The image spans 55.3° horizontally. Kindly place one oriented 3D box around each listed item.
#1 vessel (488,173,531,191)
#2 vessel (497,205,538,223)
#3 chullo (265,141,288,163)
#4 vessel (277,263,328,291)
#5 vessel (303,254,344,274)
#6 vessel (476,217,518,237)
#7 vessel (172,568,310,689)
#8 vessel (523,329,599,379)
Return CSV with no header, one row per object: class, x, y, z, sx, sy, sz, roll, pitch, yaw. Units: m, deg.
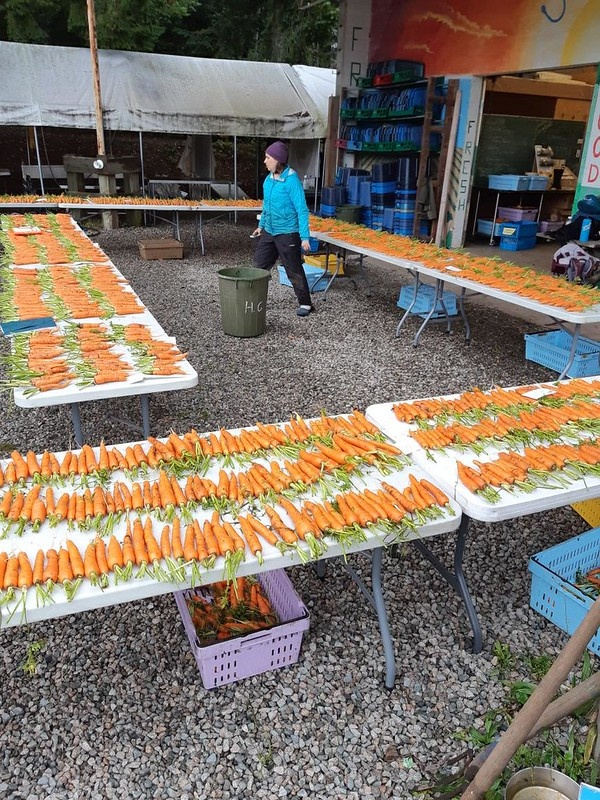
vessel,3.822,-3.974,10.619,0.400,0.240,0.614,-21,33,-30
vessel,3.972,-3.530,10.600,0.412,0.292,0.600,-20,30,-32
chullo,-0.210,-2.411,5.597,0.163,0.204,0.382,13,29,19
vessel,0.055,-1.670,7.927,0.463,0.255,0.661,-14,33,-25
vessel,0.422,-1.941,8.051,0.470,0.168,0.462,-20,36,-31
vessel,3.686,-3.330,11.032,0.525,0.185,0.354,19,44,29
vessel,-0.259,0.825,2.232,0.414,0.207,0.582,-6,15,-20
vessel,2.306,-0.410,5.003,0.456,0.285,0.754,-4,23,-21
